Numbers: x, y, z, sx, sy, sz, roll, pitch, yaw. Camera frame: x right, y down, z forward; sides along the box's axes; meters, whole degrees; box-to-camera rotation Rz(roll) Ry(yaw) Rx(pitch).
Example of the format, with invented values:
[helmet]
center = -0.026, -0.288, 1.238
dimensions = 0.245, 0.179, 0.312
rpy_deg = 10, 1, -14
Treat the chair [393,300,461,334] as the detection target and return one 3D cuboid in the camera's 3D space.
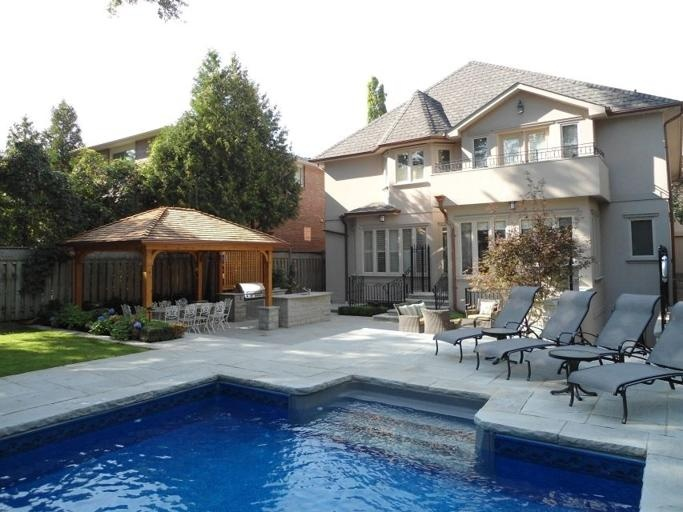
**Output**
[chair]
center = 2.591, 1.959, 15.862
dimensions = 0.919, 0.540, 1.376
rpy_deg = 0, -3, -36
